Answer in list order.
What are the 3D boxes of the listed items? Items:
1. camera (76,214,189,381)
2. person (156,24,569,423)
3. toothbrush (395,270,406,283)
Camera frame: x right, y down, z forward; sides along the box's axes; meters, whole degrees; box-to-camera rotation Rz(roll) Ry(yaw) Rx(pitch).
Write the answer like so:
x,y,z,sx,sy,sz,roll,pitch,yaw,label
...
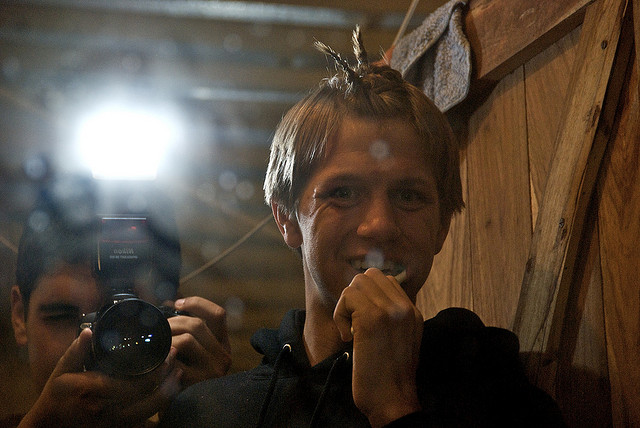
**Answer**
x,y,z,sx,sy,sz,roll,pitch,yaw,label
-0.767,0.307,2.726,0.346,0.684,0.301,6,-12,-18,camera
0.201,0.067,2.712,1.345,1.524,0.530,-2,-12,21,person
0.302,0.234,2.565,0.031,0.041,0.012,17,15,-25,toothbrush
